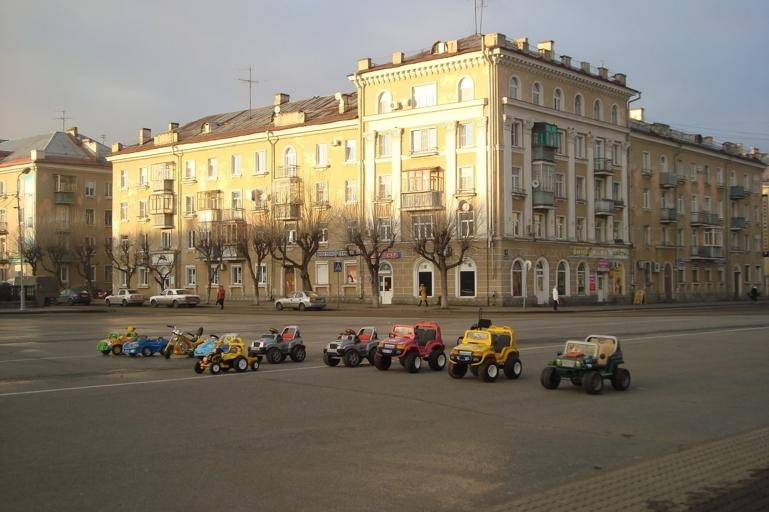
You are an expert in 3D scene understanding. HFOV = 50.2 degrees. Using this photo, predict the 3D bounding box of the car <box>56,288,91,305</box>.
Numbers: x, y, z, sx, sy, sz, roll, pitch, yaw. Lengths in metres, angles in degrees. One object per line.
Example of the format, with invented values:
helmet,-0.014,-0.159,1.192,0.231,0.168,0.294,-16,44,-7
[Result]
car,-25.625,3.414,67.292,2.615,0.916,1.217,4,3,37

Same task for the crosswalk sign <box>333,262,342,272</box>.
crosswalk sign,-3.769,0.886,64.303,0.691,0.711,0.685,0,-3,1

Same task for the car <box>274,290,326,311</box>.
car,-5.870,3.192,57.416,3.194,1.127,1.444,2,1,37

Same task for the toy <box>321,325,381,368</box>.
toy,-1.002,2.900,26.103,1.109,1.231,1.944,-3,-5,41

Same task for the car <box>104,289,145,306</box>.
car,-20.856,3.368,66.073,2.318,1.398,2.508,0,-3,-35

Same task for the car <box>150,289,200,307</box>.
car,-16.013,3.240,62.949,4.135,1.390,1.762,-4,-4,44
